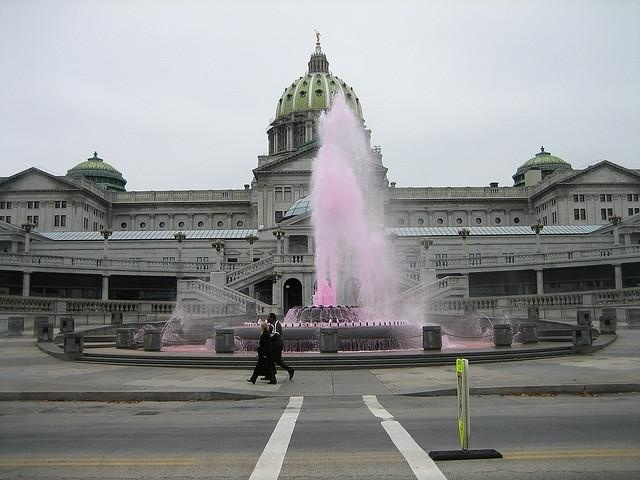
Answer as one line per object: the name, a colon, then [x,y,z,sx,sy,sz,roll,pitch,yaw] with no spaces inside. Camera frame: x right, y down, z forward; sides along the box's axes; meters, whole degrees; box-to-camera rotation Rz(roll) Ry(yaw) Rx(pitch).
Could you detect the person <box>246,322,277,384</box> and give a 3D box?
person: [-2.009,4.005,32.763,0.907,2.156,1.040,0,-8,-4]
